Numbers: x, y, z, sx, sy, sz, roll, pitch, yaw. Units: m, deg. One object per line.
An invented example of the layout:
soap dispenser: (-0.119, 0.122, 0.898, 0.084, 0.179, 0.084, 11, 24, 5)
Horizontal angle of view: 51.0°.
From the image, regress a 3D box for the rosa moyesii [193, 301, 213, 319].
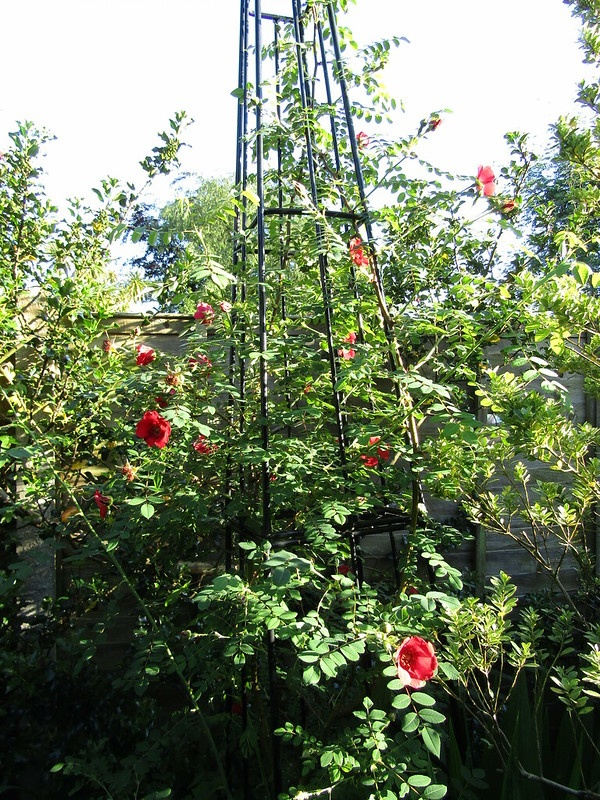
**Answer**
rosa moyesii: (-0.317, -0.289, 2.036, 0.067, 0.025, 0.054, -24, -65, 7)

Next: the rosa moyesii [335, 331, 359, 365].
rosa moyesii: (0.150, -0.147, 1.989, 0.098, 0.039, 0.085, -31, -27, -19)

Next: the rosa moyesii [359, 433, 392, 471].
rosa moyesii: (0.205, 0.148, 1.705, 0.043, 0.108, 0.083, 1, -57, 12)

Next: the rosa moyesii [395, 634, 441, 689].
rosa moyesii: (0.226, 0.509, 1.237, 0.101, 0.091, 0.045, -1, -17, -3)
